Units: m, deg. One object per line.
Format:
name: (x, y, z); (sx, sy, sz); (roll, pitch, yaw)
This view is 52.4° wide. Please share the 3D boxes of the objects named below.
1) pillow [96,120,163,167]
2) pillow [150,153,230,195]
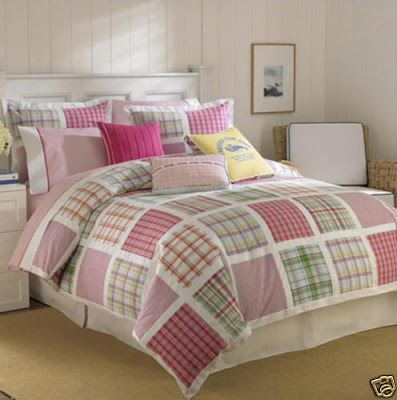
pillow: (-0.424, -0.334, 2.442); (0.381, 0.238, 0.127); (-9, -1, -25)
pillow: (-0.042, -0.141, 2.127); (0.414, 0.204, 0.227); (-1, 4, -6)
